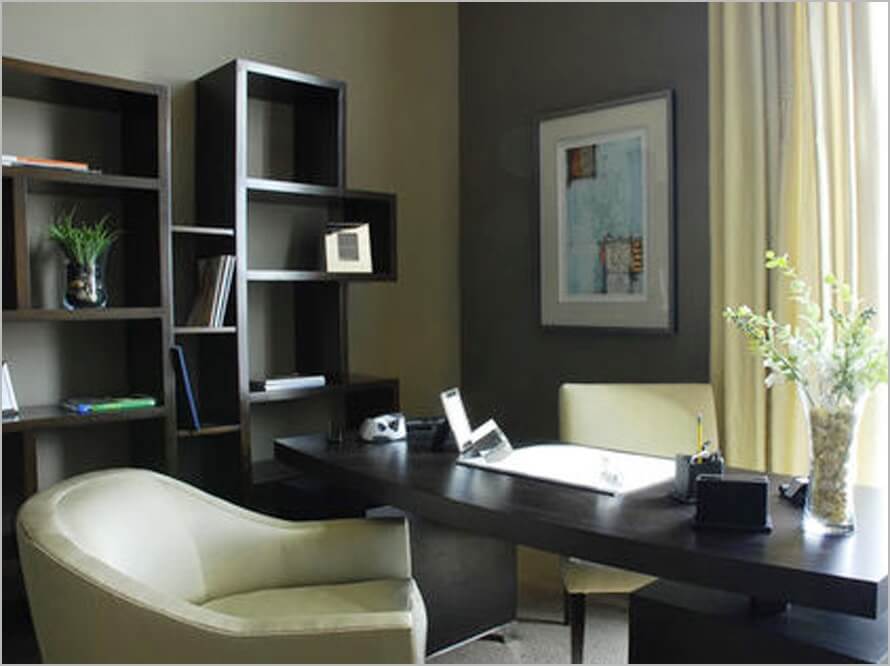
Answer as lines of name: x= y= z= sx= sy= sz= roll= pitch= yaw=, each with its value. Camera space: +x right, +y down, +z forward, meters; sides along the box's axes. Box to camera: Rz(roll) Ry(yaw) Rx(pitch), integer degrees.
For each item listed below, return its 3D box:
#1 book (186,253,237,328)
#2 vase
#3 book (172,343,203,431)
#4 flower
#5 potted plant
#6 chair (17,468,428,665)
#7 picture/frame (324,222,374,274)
book: x=-0.976 y=-0.179 z=3.028 sx=0.093 sy=0.360 sz=0.300 roll=25 pitch=-16 yaw=-40
vase: x=0.997 y=0.346 z=1.859 sx=0.160 sy=0.320 sz=0.139 roll=-2 pitch=11 yaw=3
book: x=-1.080 y=0.218 z=3.011 sx=0.081 sy=0.386 sz=0.398 roll=-7 pitch=12 yaw=-19
flower: x=1.261 y=-0.017 z=2.509 sx=0.433 sy=0.645 sz=0.429 roll=-18 pitch=12 yaw=-11
potted plant: x=-1.380 y=-0.238 z=2.758 sx=0.245 sy=0.328 sz=0.239 roll=10 pitch=8 yaw=28
chair: x=-0.578 y=0.664 z=1.990 sx=0.887 sy=0.585 sz=0.696 roll=0 pitch=-1 yaw=-8
picture/frame: x=-0.452 y=-0.397 z=3.326 sx=0.178 sy=0.214 sz=0.016 roll=1 pitch=31 yaw=-1
